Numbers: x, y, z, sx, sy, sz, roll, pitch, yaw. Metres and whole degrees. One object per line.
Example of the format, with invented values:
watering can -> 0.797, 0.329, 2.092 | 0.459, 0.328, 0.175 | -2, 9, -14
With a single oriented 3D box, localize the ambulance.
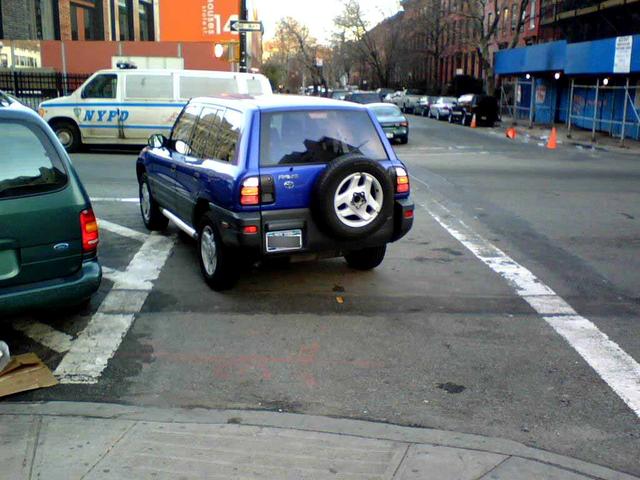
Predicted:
ambulance -> -5.452, -4.404, 18.504 | 9.176, 3.042, 3.215 | 6, 3, 15

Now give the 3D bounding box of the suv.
suv -> -0.972, -0.920, 7.041 | 2.036, 1.579, 3.801 | -7, 22, -24

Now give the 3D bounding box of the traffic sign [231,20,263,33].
traffic sign -> -2.710, -7.709, 18.346 | 0.602, 0.417, 1.531 | -11, 19, -36
